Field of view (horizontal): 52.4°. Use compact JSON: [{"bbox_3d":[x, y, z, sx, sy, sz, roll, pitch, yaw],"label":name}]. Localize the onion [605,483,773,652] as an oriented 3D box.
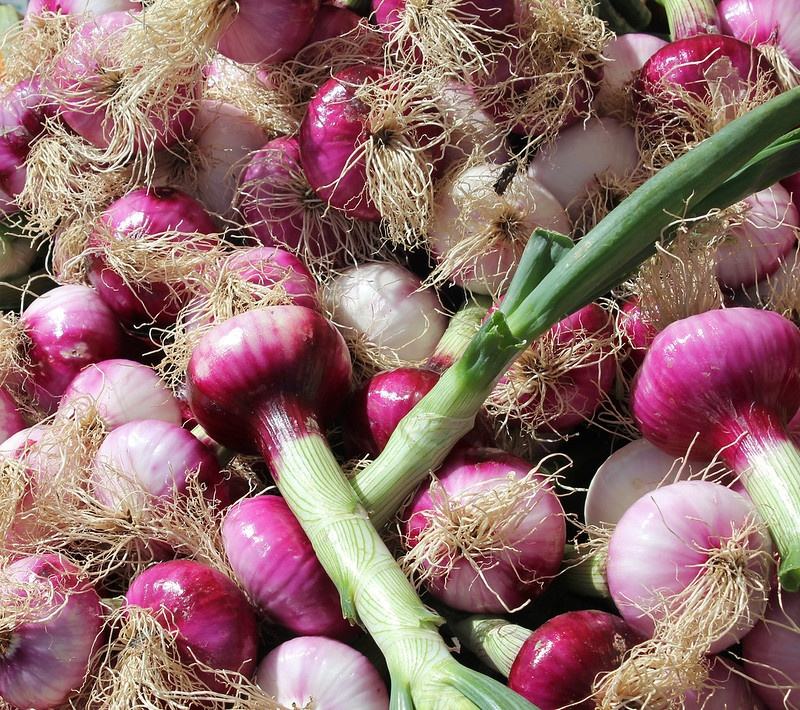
[{"bbox_3d":[0.284,0.188,0.853,0.145,0.100,0.163,31,94,1],"label":"onion"}]
